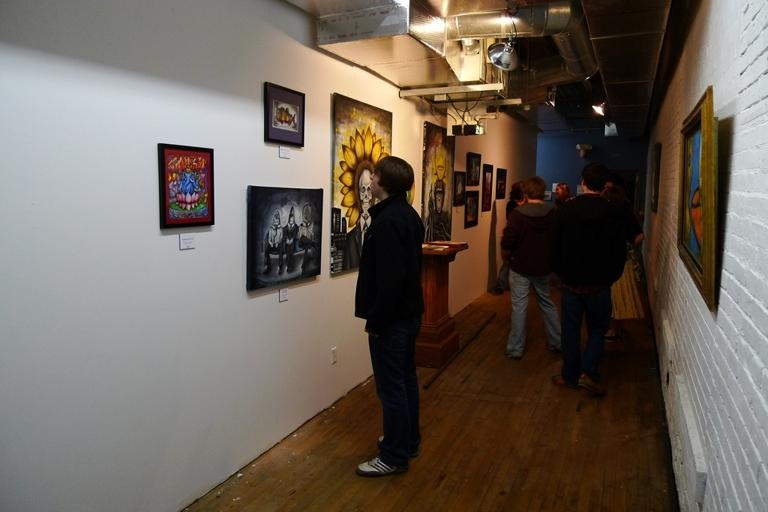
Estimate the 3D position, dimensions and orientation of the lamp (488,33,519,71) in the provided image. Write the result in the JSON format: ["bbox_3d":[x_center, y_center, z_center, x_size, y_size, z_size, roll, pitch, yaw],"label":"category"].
[{"bbox_3d":[1.164,-1.997,4.877,0.275,0.300,0.339,3,11,17],"label":"lamp"}]

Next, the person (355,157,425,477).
[{"bbox_3d":[0.046,0.465,3.733,0.492,2.360,0.390,0,9,2],"label":"person"}]

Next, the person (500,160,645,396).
[{"bbox_3d":[2.113,0.194,5.078,0.633,2.243,0.745,7,12,39],"label":"person"}]

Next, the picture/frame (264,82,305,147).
[{"bbox_3d":[-0.784,-1.123,4.002,0.404,0.431,0.033,18,21,30],"label":"picture/frame"}]

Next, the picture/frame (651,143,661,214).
[{"bbox_3d":[4.553,-1.405,8.223,0.053,1.010,0.944,1,19,24],"label":"picture/frame"}]

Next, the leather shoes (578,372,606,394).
[{"bbox_3d":[2.068,1.267,4.975,0.303,0.152,0.132,30,-4,-4],"label":"leather shoes"}]

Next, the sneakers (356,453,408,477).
[{"bbox_3d":[-0.019,1.593,3.874,0.383,0.180,0.151,3,-8,-3],"label":"sneakers"}]

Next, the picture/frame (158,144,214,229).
[{"bbox_3d":[-1.335,-0.474,3.308,0.024,0.682,0.458,7,12,35],"label":"picture/frame"}]
